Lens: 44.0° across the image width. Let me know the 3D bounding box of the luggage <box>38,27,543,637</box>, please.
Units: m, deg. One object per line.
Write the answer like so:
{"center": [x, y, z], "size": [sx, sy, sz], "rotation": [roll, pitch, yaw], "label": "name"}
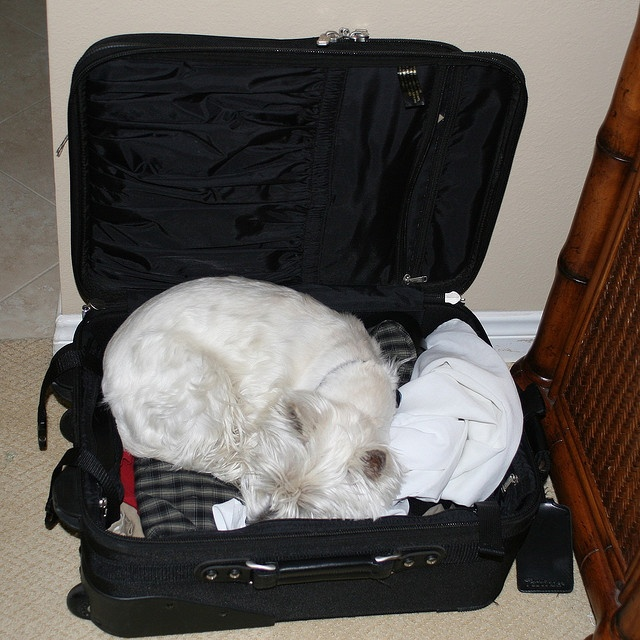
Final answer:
{"center": [-0.052, 0.035, 2.022], "size": [1.332, 1.333, 1.056], "rotation": [-4, 37, -14], "label": "luggage"}
